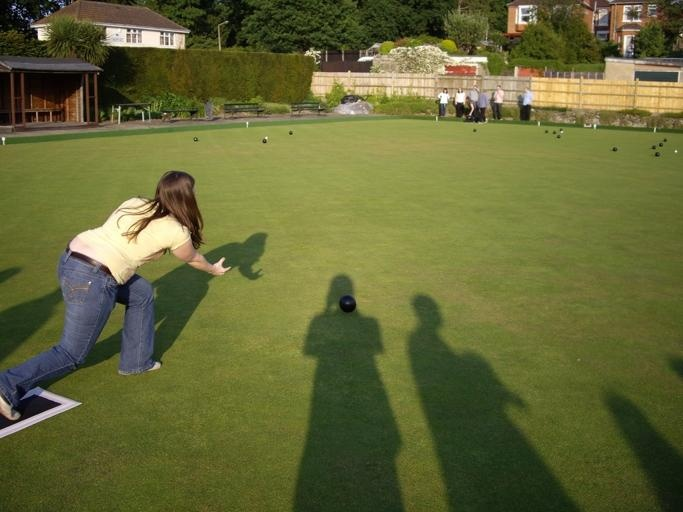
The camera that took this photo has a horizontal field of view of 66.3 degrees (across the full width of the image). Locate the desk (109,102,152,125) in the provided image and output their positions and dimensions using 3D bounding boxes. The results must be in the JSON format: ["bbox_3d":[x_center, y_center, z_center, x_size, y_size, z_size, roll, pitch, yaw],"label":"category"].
[{"bbox_3d":[-12.365,-8.477,30.862,2.464,1.135,1.922,-8,16,-34],"label":"desk"}]

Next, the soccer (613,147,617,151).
[{"bbox_3d":[10.664,-4.179,20.496,0.207,0.123,0.210,8,20,25],"label":"soccer"}]

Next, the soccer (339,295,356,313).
[{"bbox_3d":[0.071,0.591,6.426,0.198,0.209,0.238,1,13,-3],"label":"soccer"}]

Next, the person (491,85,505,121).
[{"bbox_3d":[9.803,-9.680,33.290,0.596,1.956,1.117,4,13,12],"label":"person"}]
